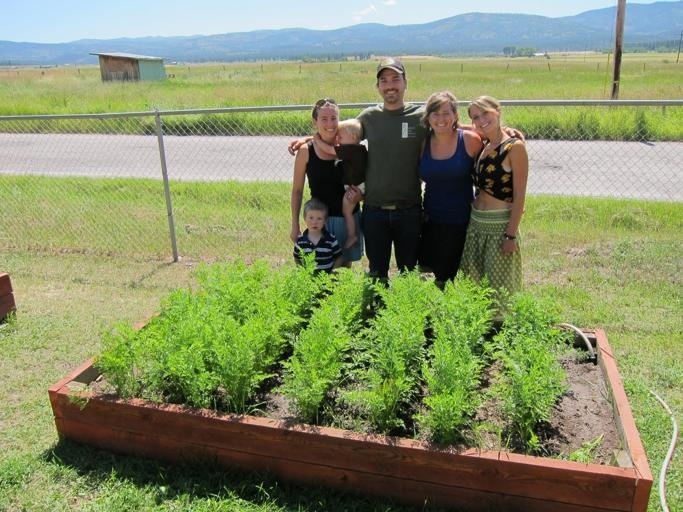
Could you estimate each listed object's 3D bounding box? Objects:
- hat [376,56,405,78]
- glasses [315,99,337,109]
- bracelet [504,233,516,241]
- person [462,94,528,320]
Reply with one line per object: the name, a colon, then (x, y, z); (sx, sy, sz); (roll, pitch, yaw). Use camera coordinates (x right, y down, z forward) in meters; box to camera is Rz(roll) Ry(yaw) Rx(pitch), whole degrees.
hat: (0.480, -1.814, 6.096); (0.254, 0.184, 0.437); (0, 18, 7)
glasses: (-0.153, -1.503, 6.193); (0.229, 0.077, 0.166); (-9, 19, -20)
bracelet: (1.618, -0.182, 6.031); (0.112, 0.074, 0.060); (-1, 17, 5)
person: (1.470, -0.546, 6.071); (0.578, 1.917, 0.379); (12, 22, 40)
